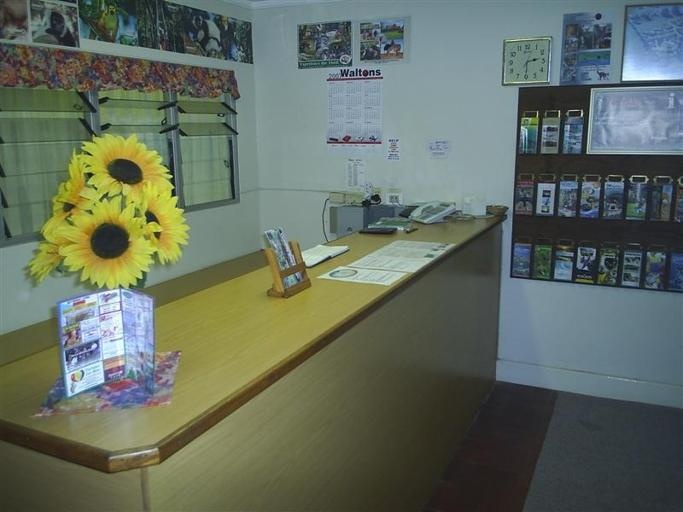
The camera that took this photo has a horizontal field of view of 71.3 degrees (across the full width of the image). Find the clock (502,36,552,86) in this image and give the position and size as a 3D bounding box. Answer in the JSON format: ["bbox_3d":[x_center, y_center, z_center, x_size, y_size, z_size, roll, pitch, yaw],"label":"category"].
[{"bbox_3d":[1.549,-1.611,3.960,0.366,0.351,0.031,-7,23,0],"label":"clock"}]

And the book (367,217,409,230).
[{"bbox_3d":[0.421,-0.260,3.882,0.318,0.044,0.498,3,15,16],"label":"book"}]

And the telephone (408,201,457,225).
[{"bbox_3d":[0.774,-0.374,4.079,0.295,0.088,0.224,-30,24,-37],"label":"telephone"}]

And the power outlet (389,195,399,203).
[{"bbox_3d":[0.491,-0.524,4.463,0.108,0.072,0.025,2,15,12],"label":"power outlet"}]
